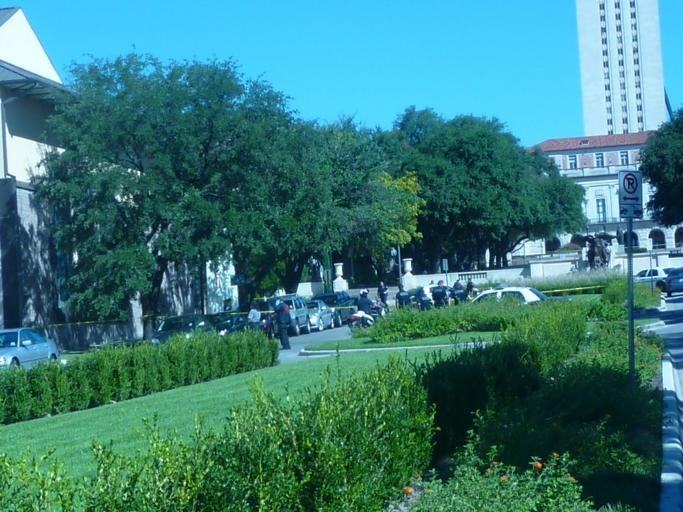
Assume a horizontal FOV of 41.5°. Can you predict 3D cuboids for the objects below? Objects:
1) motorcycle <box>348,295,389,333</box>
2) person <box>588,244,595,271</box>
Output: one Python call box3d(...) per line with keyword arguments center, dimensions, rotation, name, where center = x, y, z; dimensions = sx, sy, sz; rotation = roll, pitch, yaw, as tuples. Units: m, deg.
box3d(center=(1.112, 2.427, 36.718), dimensions=(0.816, 1.201, 1.972), rotation=(-2, 22, 26), name="motorcycle")
box3d(center=(15.983, -0.018, 57.584), dimensions=(0.435, 1.407, 1.211), rotation=(-1, 4, 13), name="person")
